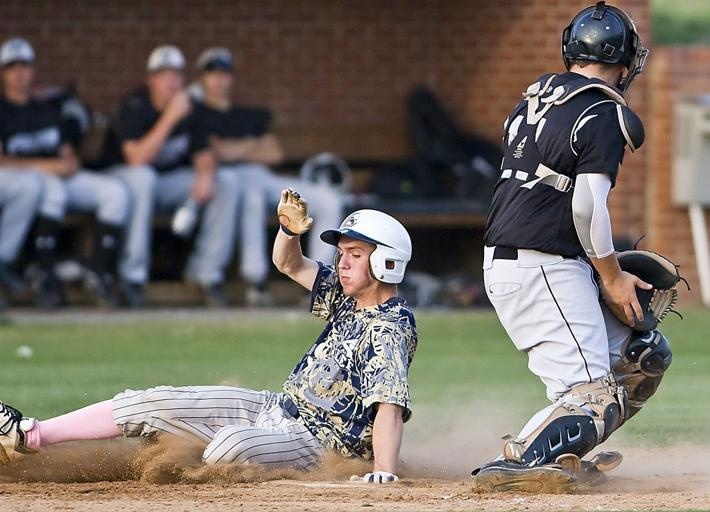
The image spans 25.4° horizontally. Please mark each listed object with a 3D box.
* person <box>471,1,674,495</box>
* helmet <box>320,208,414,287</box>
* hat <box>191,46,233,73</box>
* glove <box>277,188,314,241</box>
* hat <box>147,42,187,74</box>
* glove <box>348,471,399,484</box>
[{"bbox_3d":[1.575,-0.081,11.384,1.298,3.568,0.739,4,6,5],"label":"person"},{"bbox_3d":[0.091,-0.054,11.708,0.628,0.509,0.472,8,-6,-7],"label":"helmet"},{"bbox_3d":[-1.596,-2.255,18.108,0.501,0.264,0.768,0,6,-2],"label":"hat"},{"bbox_3d":[-0.463,-0.316,11.724,0.266,0.349,0.136,-2,6,-4],"label":"glove"},{"bbox_3d":[-1.992,-2.069,16.480,0.370,0.286,0.344,4,6,2],"label":"hat"},{"bbox_3d":[0.142,1.602,11.318,0.187,0.066,0.146,3,-2,-11],"label":"glove"}]
